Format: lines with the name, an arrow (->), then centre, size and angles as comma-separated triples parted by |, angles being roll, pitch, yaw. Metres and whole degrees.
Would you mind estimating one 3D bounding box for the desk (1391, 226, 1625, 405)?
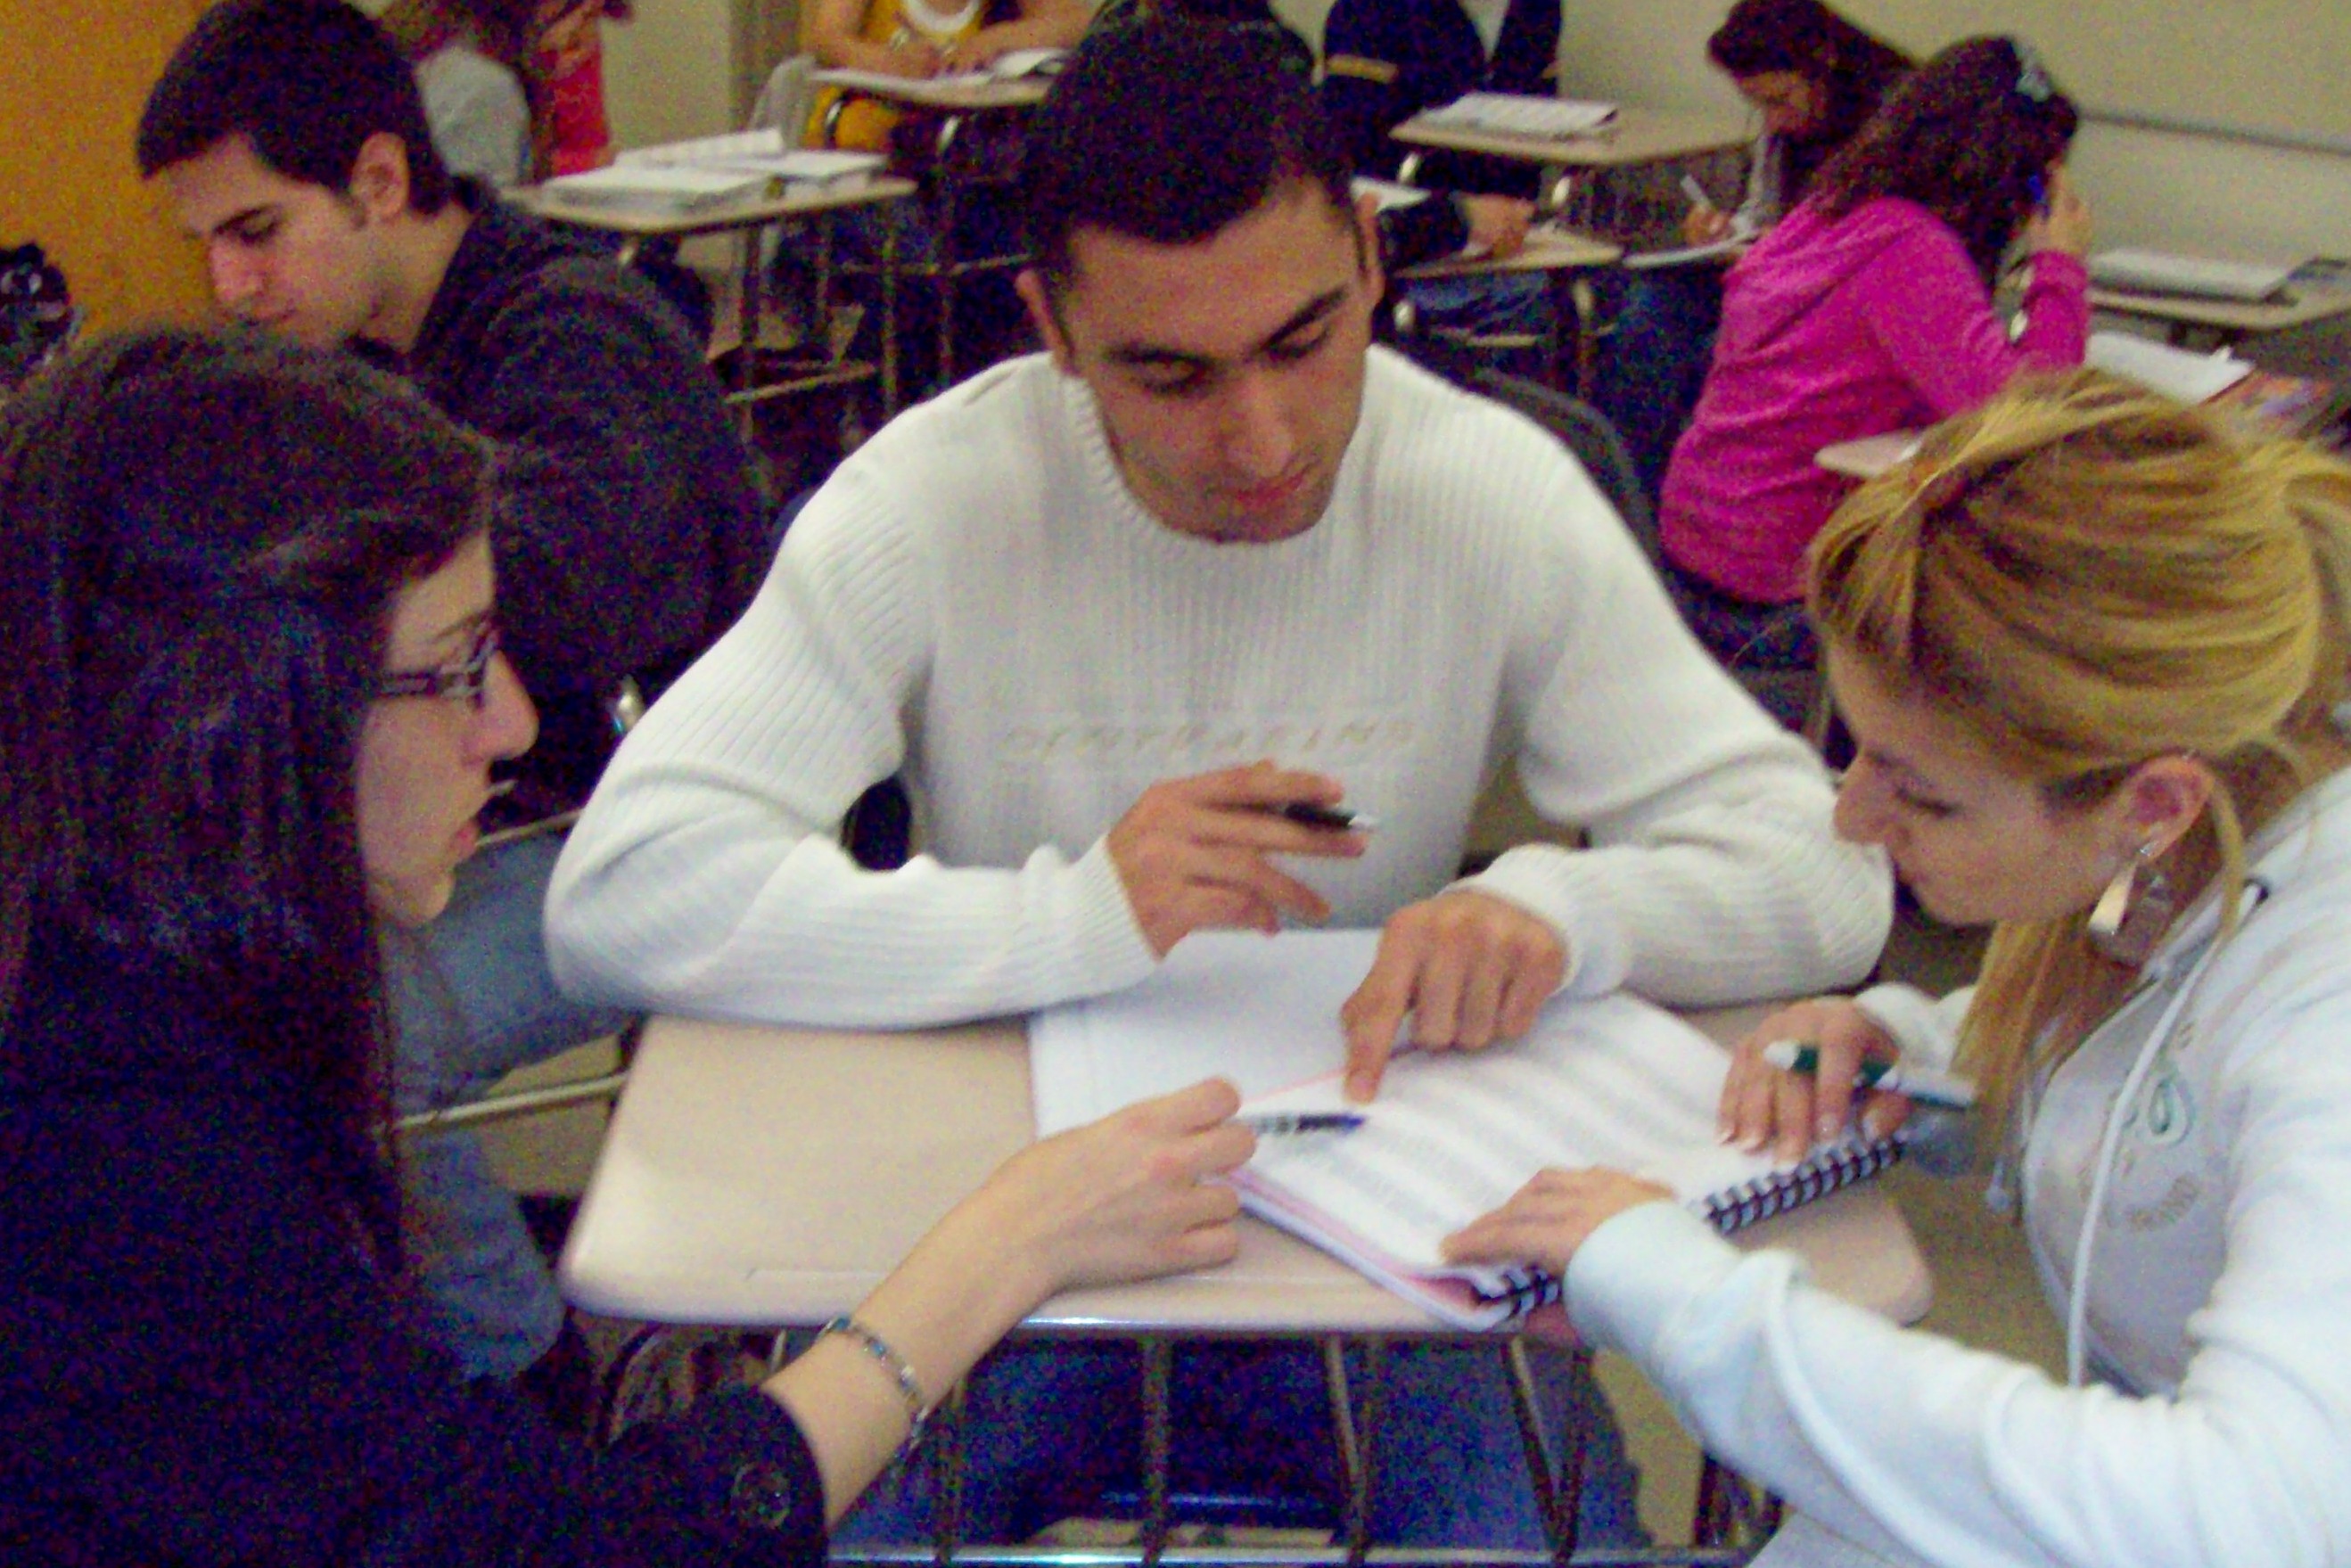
desk -> 0.787, -1.165, 4.645 | 0.459, 0.522, 0.513 | 0, 41, 6
